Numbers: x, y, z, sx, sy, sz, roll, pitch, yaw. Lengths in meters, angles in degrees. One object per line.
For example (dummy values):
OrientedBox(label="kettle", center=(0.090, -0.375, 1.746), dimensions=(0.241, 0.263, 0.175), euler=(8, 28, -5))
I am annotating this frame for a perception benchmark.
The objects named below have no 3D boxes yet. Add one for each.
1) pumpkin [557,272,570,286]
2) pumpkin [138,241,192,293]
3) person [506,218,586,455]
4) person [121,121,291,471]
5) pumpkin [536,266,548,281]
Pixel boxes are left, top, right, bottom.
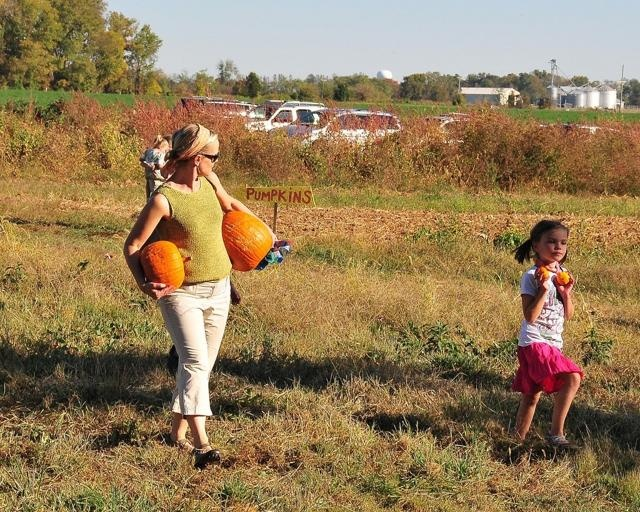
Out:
OrientedBox(label="pumpkin", center=(2.422, 0.225, 10.682), dimensions=(0.156, 0.152, 0.091), euler=(6, 9, 11))
OrientedBox(label="pumpkin", center=(-1.468, 0.066, 10.126), dimensions=(0.373, 0.463, 0.502), euler=(4, 5, -30))
OrientedBox(label="person", center=(2.307, 0.771, 10.806), dimensions=(0.752, 2.242, 0.507), euler=(8, 9, 27))
OrientedBox(label="person", center=(-1.117, 0.348, 10.344), dimensions=(1.129, 3.165, 1.063), euler=(-3, 4, -33))
OrientedBox(label="pumpkin", center=(2.201, 0.159, 10.666), dimensions=(0.061, 0.128, 0.117), euler=(-20, 5, 3))
